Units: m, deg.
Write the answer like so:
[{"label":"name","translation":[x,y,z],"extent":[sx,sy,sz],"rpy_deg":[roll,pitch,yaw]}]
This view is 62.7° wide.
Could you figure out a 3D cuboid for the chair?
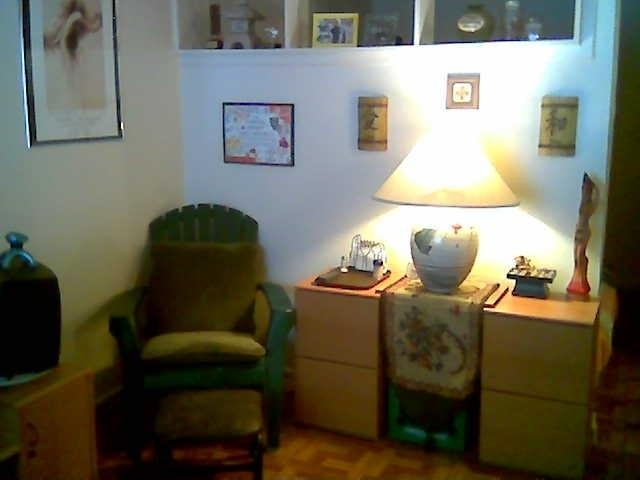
[{"label":"chair","translation":[-0.637,0.333,2.979],"extent":[1.060,1.533,1.050],"rpy_deg":[-1,-1,-7]}]

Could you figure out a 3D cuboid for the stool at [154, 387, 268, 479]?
[{"label":"stool","translation":[-0.487,0.830,2.371],"extent":[0.497,0.361,0.359],"rpy_deg":[0,3,-1]}]

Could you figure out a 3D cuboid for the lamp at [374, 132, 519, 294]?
[{"label":"lamp","translation":[0.617,-0.154,2.776],"extent":[0.685,0.799,0.730],"rpy_deg":[2,2,-15]}]

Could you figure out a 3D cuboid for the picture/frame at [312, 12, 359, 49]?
[{"label":"picture/frame","translation":[0.098,-1.157,2.888],"extent":[0.201,0.157,0.022],"rpy_deg":[3,14,15]}]

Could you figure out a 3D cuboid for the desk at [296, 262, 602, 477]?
[{"label":"desk","translation":[0.585,0.639,2.598],"extent":[1.351,0.771,0.470],"rpy_deg":[7,15,27]}]
